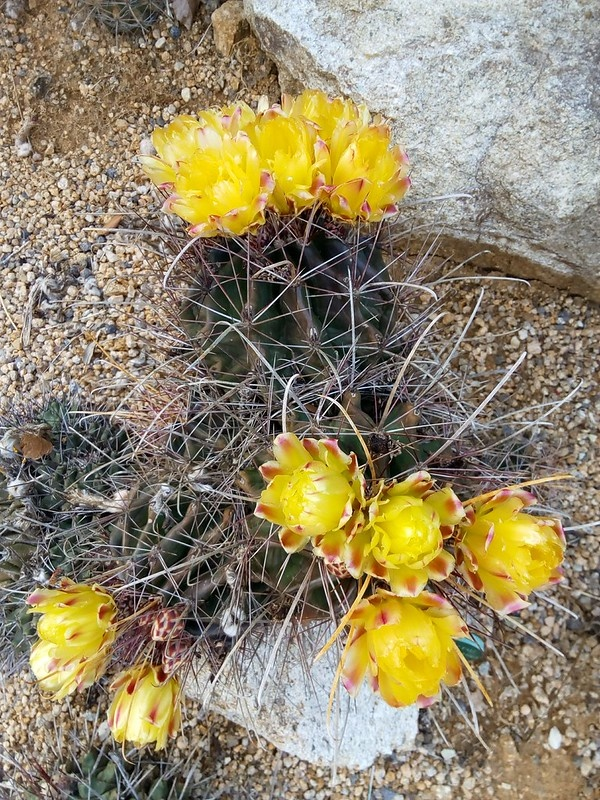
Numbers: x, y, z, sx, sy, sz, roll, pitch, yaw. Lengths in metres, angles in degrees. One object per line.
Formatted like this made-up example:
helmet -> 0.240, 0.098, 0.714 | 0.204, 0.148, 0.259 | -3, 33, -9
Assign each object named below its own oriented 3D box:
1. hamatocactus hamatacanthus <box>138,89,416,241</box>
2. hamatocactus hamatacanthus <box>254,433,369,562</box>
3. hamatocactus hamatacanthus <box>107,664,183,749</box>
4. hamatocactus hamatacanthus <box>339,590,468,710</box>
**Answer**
hamatocactus hamatacanthus -> -0.040, -0.367, 1.258 | 0.346, 0.171, 0.241 | -12, 98, -8
hamatocactus hamatacanthus -> 0.028, 0.127, 1.016 | 0.148, 0.095, 0.156 | -58, 38, 18
hamatocactus hamatacanthus -> -0.262, 0.517, 1.358 | 0.122, 0.101, 0.162 | 2, 66, -1
hamatocactus hamatacanthus -> 0.141, 0.337, 1.045 | 0.169, 0.146, 0.160 | 3, 85, 4
